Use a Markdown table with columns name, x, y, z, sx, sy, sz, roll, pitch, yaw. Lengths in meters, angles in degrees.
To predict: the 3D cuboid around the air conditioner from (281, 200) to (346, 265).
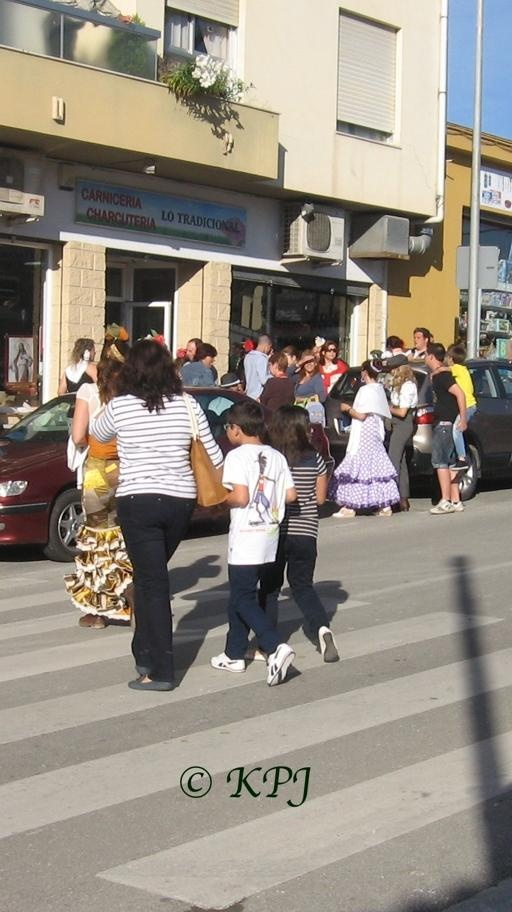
| name | x | y | z | sx | sy | sz | roll | pitch | yaw |
| --- | --- | --- | --- | --- | --- | --- | --- | --- | --- |
| air conditioner | 1.331 | -4.838 | 18.000 | 1.392 | 1.264 | 0.513 | -6 | 8 | -41 |

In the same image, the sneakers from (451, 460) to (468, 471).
| name | x | y | z | sx | sy | sz | roll | pitch | yaw |
| --- | --- | --- | --- | --- | --- | --- | --- | --- | --- |
| sneakers | 2.804 | 0.123 | 11.235 | 0.101 | 0.133 | 0.298 | -30 | -15 | 29 |

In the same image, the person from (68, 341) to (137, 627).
| name | x | y | z | sx | sy | sz | roll | pitch | yaw |
| --- | --- | --- | --- | --- | --- | --- | --- | --- | --- |
| person | -1.140 | 0.217 | 5.526 | 0.592 | 1.843 | 0.561 | 4 | 7 | 22 |

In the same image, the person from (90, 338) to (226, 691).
| name | x | y | z | sx | sy | sz | roll | pitch | yaw |
| --- | --- | --- | --- | --- | --- | --- | --- | --- | --- |
| person | -0.497 | 0.297 | 4.229 | 0.630 | 1.806 | 0.379 | 0 | -2 | -10 |
